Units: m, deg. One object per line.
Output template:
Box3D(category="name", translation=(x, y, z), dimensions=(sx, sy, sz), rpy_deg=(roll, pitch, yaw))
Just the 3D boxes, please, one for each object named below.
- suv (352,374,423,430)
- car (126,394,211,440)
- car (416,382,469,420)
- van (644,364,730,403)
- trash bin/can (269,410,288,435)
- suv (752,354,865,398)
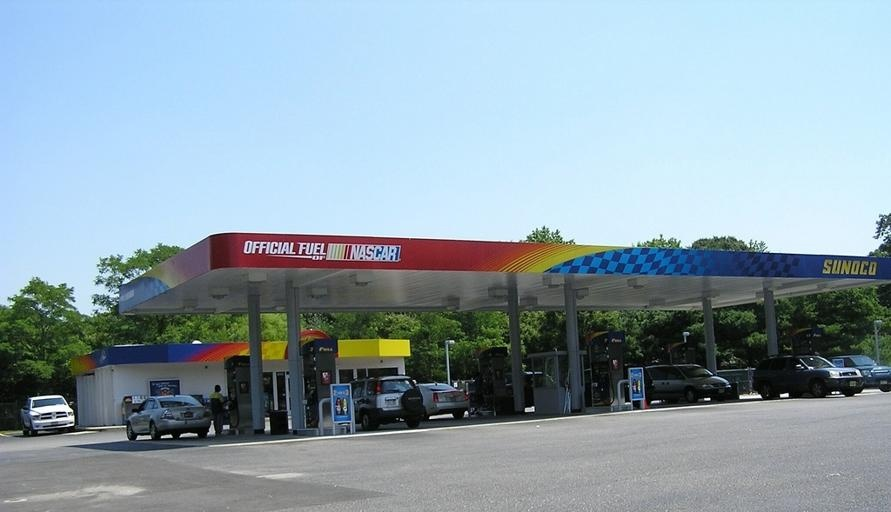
Box3D(category="suv", translation=(-2.339, 6.044, 31.581), dimensions=(1.839, 1.338, 3.154), rpy_deg=(1, -4, -23))
Box3D(category="car", translation=(-11.958, 7.163, 33.841), dimensions=(4.682, 1.950, 3.055), rpy_deg=(-14, -16, 35))
Box3D(category="car", translation=(-0.092, 6.905, 36.642), dimensions=(1.328, 0.866, 2.828), rpy_deg=(0, -4, -34))
Box3D(category="van", translation=(13.053, 6.925, 41.284), dimensions=(4.238, 1.697, 2.391), rpy_deg=(-13, -14, 42))
Box3D(category="trash bin/can", translation=(-7.065, 7.074, 32.575), dimensions=(1.042, 1.028, 0.996), rpy_deg=(-1, -6, 0))
Box3D(category="suv", translation=(17.412, 5.817, 37.063), dimensions=(1.503, 2.137, 4.409), rpy_deg=(7, -17, -39))
